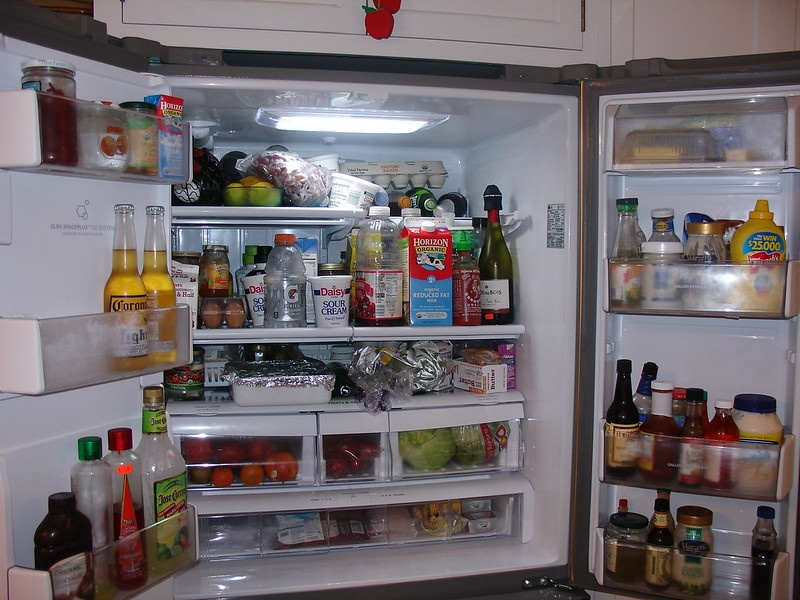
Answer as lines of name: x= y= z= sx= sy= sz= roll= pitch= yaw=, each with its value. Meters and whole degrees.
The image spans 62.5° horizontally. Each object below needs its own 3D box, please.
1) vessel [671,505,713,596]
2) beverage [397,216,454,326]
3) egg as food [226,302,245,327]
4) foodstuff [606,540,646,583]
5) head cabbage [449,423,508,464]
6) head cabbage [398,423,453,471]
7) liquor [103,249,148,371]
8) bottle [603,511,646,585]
vessel: x=0.791 y=0.678 z=1.785 sx=0.098 sy=0.196 sz=0.126 roll=4 pitch=11 yaw=23
beverage: x=0.045 y=-0.078 z=2.053 sx=0.185 sy=0.334 sz=0.199 roll=2 pitch=-5 yaw=-42
egg as food: x=-0.483 y=0.040 z=1.934 sx=0.070 sy=0.080 sz=0.069 roll=1 pitch=1 yaw=10
foodstuff: x=0.613 y=0.712 z=1.799 sx=0.113 sy=0.116 sz=0.110 roll=0 pitch=-4 yaw=4
head cabbage: x=0.236 y=0.435 z=2.021 sx=0.127 sy=0.079 sz=0.064 roll=-8 pitch=29 yaw=-20
head cabbage: x=0.079 y=0.439 z=1.984 sx=0.135 sy=0.100 sz=0.144 roll=2 pitch=-8 yaw=-19
liquor: x=-0.570 y=0.017 z=1.374 sx=0.082 sy=0.240 sz=0.139 roll=-5 pitch=11 yaw=-23
bottle: x=0.643 y=0.709 z=1.846 sx=0.116 sy=0.160 sz=0.113 roll=0 pitch=-14 yaw=0
